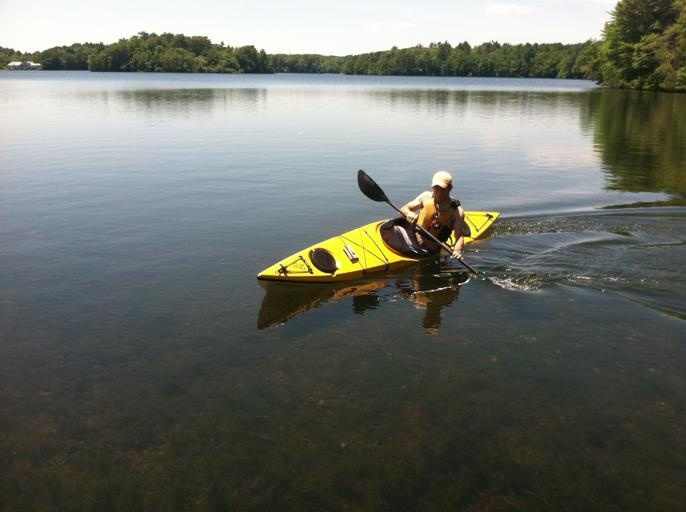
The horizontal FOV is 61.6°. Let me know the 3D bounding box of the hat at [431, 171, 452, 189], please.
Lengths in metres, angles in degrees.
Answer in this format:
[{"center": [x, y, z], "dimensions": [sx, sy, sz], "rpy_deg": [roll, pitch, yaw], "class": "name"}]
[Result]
[{"center": [1.767, -1.382, 10.280], "dimensions": [0.348, 0.282, 0.525], "rpy_deg": [1, -4, 22], "class": "hat"}]
